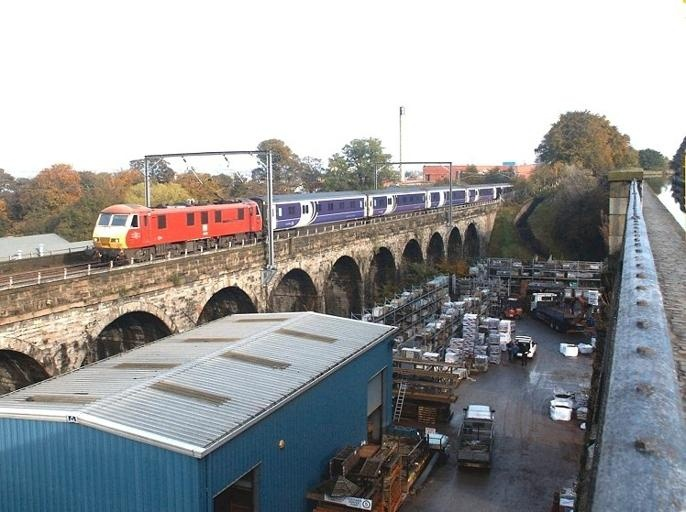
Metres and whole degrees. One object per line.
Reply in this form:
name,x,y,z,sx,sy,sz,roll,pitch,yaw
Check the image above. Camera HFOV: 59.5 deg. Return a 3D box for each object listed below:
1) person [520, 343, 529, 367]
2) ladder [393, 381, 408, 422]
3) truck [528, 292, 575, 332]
person,8.277,4.491,27.349,0.356,0.882,0.949,6,4,15
ladder,1.941,5.001,20.624,0.361,1.289,0.798,6,5,15
truck,12.375,3.323,35.344,1.010,1.133,2.826,0,11,-8
